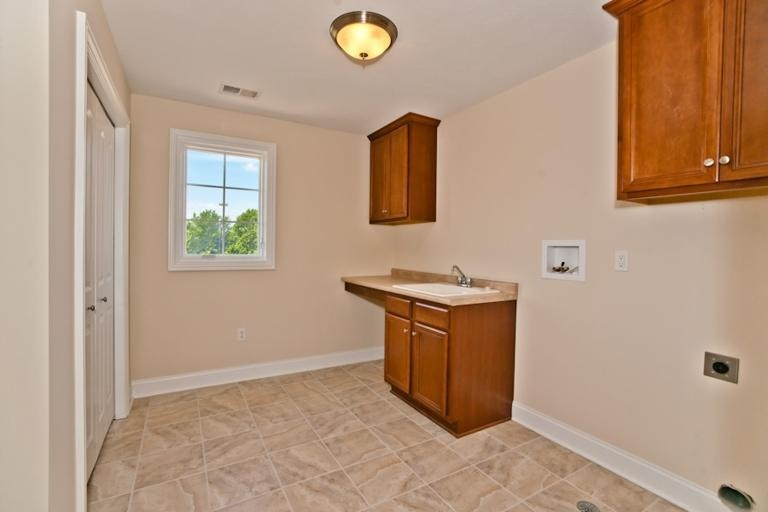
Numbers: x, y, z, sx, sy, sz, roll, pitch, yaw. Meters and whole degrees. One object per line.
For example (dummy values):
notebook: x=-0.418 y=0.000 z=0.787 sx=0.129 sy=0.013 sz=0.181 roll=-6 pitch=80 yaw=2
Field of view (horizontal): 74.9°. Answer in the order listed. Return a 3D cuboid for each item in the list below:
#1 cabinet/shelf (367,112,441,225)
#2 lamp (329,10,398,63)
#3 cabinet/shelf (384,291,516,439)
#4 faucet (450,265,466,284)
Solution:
cabinet/shelf: x=0.222 y=-0.860 z=4.847 sx=0.474 sy=1.013 sz=0.979 roll=3 pitch=-5 yaw=-26
lamp: x=-0.137 y=-1.470 z=3.327 sx=0.450 sy=0.267 sz=0.156 roll=0 pitch=2 yaw=-2
cabinet/shelf: x=0.541 y=0.829 z=4.330 sx=0.758 sy=0.975 sz=1.027 roll=-1 pitch=4 yaw=-30
faucet: x=0.683 y=0.170 z=4.473 sx=0.120 sy=0.170 sz=0.278 roll=-1 pitch=2 yaw=-6
